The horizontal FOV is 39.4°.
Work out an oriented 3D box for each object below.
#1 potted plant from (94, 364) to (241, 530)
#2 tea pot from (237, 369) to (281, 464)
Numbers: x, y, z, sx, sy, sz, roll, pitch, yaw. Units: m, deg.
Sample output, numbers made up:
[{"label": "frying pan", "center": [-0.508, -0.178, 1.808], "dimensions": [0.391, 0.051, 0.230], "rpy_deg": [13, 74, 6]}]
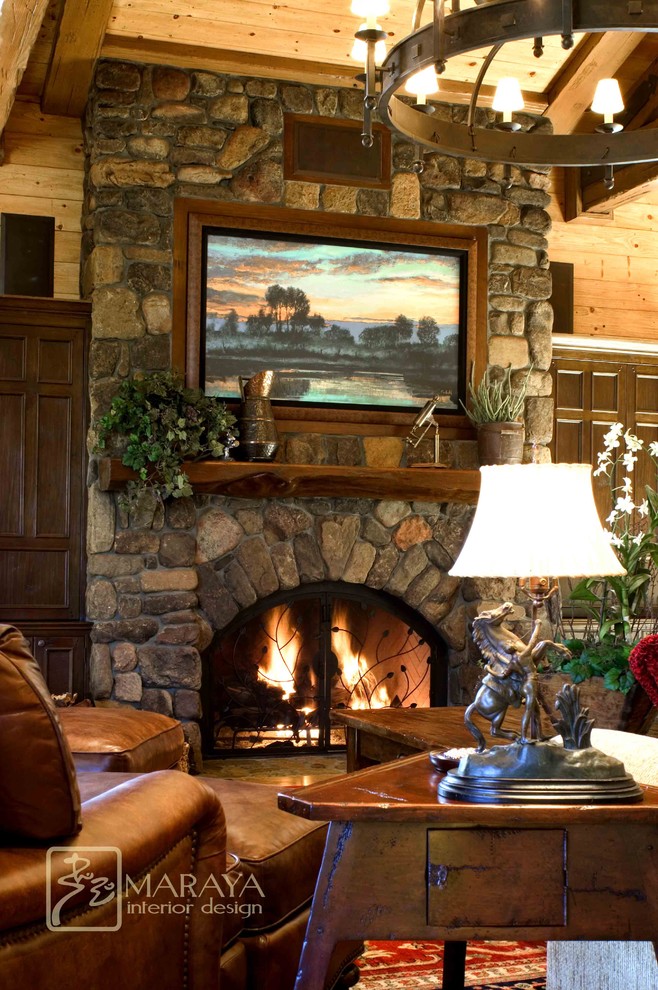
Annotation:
[{"label": "potted plant", "center": [-0.753, -0.210, 4.307], "dimensions": [0.648, 0.556, 0.319], "rpy_deg": [2, 1, -13]}, {"label": "tea pot", "center": [-0.340, -0.381, 4.437], "dimensions": [0.174, 0.360, 0.105], "rpy_deg": [2, 1, -4]}]
